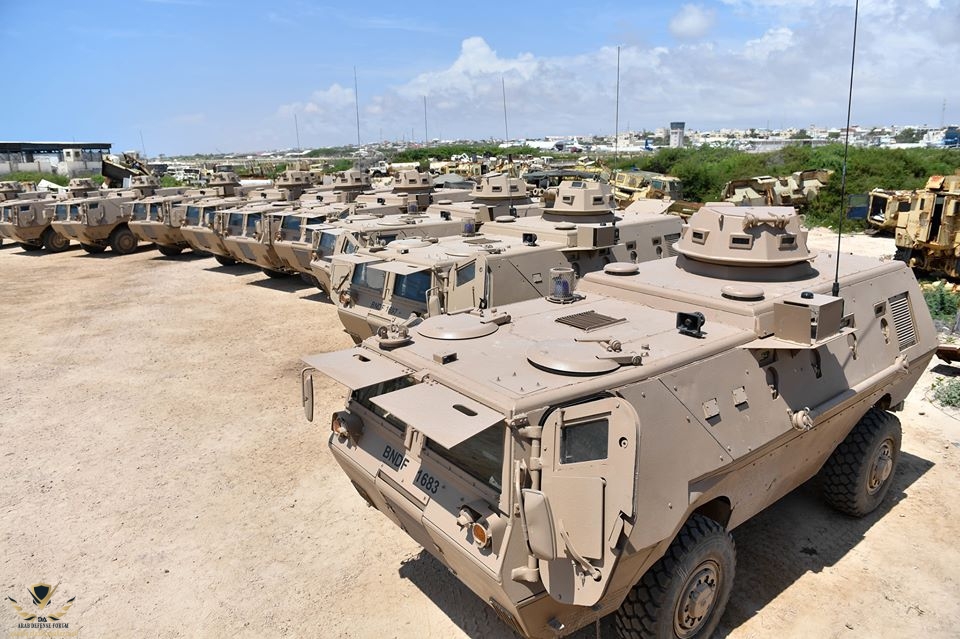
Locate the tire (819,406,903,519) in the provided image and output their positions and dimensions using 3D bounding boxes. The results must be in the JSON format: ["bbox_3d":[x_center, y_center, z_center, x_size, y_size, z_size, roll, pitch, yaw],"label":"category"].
[{"bbox_3d":[5.696,2.143,8.336,1.367,1.344,0.550,-30,25,-25],"label":"tire"}]

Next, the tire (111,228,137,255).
[{"bbox_3d":[-18.698,-4.129,29.049,0.390,1.122,1.141,10,17,24],"label":"tire"}]

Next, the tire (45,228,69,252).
[{"bbox_3d":[-22.912,-4.333,29.972,0.345,0.977,0.934,6,28,28],"label":"tire"}]
